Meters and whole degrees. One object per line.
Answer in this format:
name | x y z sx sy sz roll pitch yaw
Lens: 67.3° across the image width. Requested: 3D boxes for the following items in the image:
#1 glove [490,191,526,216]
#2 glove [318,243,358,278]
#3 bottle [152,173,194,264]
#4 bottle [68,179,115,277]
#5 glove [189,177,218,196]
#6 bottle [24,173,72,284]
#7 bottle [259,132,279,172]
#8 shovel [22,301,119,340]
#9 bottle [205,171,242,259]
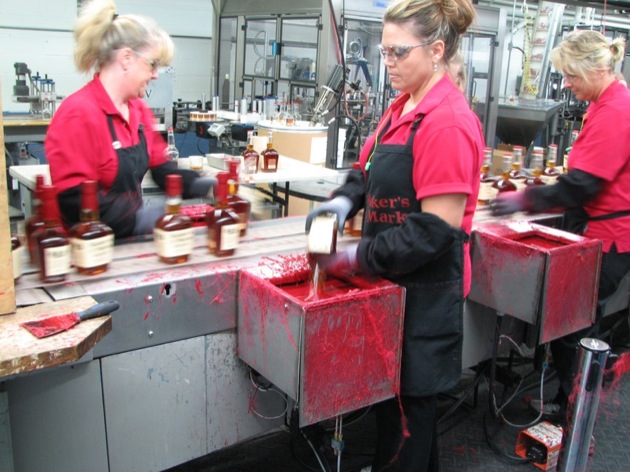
glove | 1.015 -0.171 2.490 0.150 0.050 0.112 -20 12 -20
glove | 0.091 0.091 1.646 0.136 0.063 0.101 -10 6 37
bottle | -0.518 -0.066 1.728 0.130 0.314 0.198 -7 14 -26
bottle | -0.727 -0.030 1.576 0.134 0.317 0.161 9 16 38
glove | -0.520 -0.230 2.265 0.115 0.111 0.120 6 10 8
bottle | -0.878 -0.029 1.545 0.222 0.340 0.100 11 18 42
bottle | -0.365 -0.678 3.845 0.134 0.304 0.414 -2 13 -6
shovel | -0.680 0.217 1.332 0.081 0.036 0.187 20 22 36
bottle | -0.351 -0.085 1.809 0.123 0.313 0.120 -1 13 0
